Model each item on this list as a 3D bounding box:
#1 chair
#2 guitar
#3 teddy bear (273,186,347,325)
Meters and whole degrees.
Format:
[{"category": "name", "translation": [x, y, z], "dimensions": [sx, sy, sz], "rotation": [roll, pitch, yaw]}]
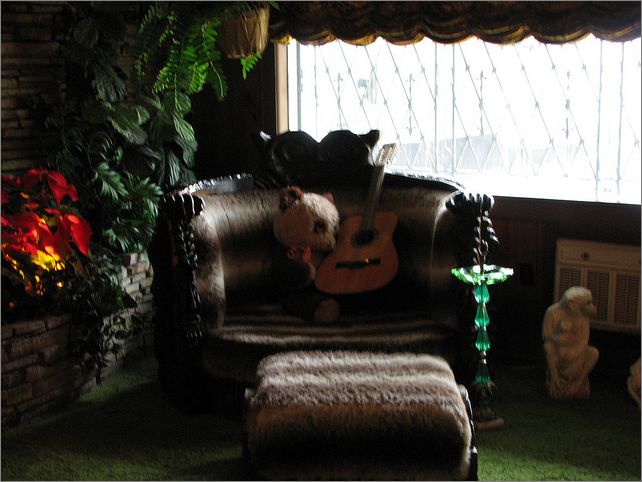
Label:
[{"category": "chair", "translation": [0.012, 0.220, 2.531], "dimensions": [1.415, 1.119, 0.920], "rotation": [-1, 8, 0]}, {"category": "guitar", "translation": [0.193, -0.142, 2.308], "dimensions": [0.378, 0.970, 0.119], "rotation": [-16, 45, -15]}, {"category": "teddy bear", "translation": [-0.040, 0.046, 2.548], "dimensions": [0.340, 0.625, 0.394], "rotation": [4, 10, 12]}]
